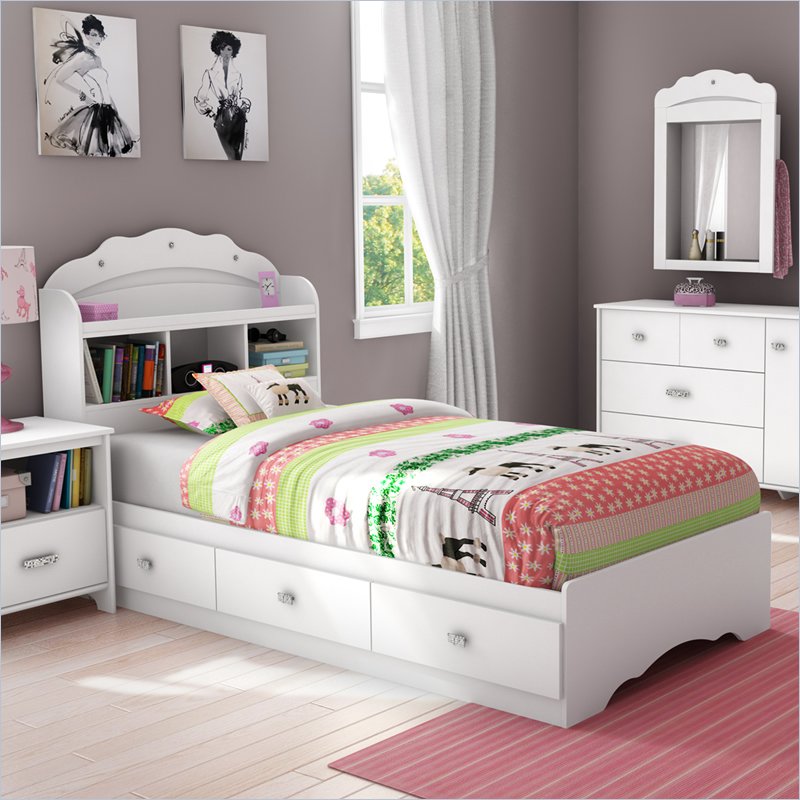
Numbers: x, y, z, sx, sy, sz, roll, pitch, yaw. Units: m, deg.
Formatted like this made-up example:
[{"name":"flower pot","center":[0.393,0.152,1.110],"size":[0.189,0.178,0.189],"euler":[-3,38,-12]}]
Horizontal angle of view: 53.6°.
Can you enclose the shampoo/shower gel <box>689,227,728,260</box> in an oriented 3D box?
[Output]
[{"name":"shampoo/shower gel","center":[1.764,-0.899,4.532],"size":[0.218,0.175,0.086],"euler":[8,11,44]}]

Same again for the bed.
[{"name":"bed","center":[-0.107,0.051,3.004],"size":[2.535,1.322,1.407],"euler":[5,11,37]}]

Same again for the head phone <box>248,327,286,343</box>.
[{"name":"head phone","center":[-0.606,-0.300,3.633],"size":[0.167,0.061,0.068],"euler":[4,17,21]}]

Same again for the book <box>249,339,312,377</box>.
[{"name":"book","center":[-0.521,-0.196,3.579],"size":[0.199,0.105,0.198],"euler":[-5,7,-40]}]

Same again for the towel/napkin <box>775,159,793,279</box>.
[{"name":"towel/napkin","center":[2.052,-0.988,4.284],"size":[0.102,0.692,0.208],"euler":[-3,0,24]}]

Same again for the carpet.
[{"name":"carpet","center":[0.355,0.710,1.845],"size":[0.665,0.005,0.731],"euler":[2,4,44]}]

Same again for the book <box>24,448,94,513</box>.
[{"name":"book","center":[-1.183,0.250,2.847],"size":[0.220,0.245,0.294],"euler":[-7,11,-39]}]

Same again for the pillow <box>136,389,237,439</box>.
[{"name":"pillow","center":[-0.777,0.040,2.981],"size":[0.241,0.064,0.244],"euler":[17,23,34]}]
